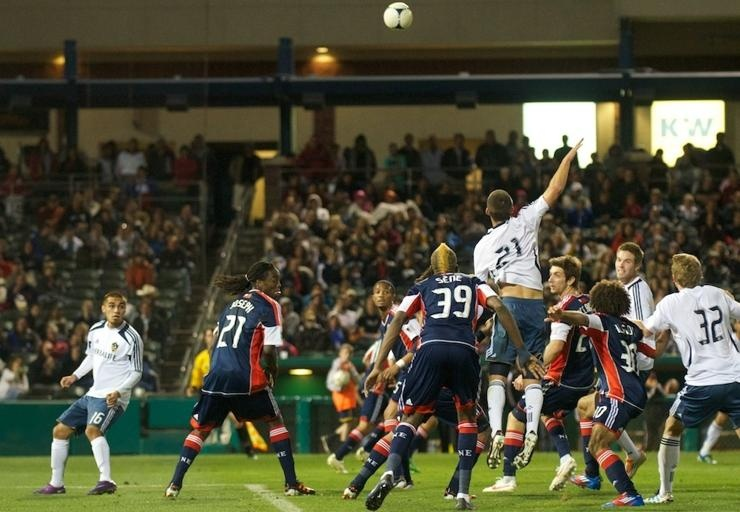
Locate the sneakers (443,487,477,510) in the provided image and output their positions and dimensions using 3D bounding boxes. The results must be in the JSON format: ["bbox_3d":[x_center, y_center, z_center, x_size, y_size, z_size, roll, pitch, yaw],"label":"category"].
[{"bbox_3d":[1.637,4.262,29.656,0.210,0.297,0.623,-2,-10,28],"label":"sneakers"}]

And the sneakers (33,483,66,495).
[{"bbox_3d":[-5.929,4.259,31.012,0.552,0.247,0.215,4,-8,-7],"label":"sneakers"}]

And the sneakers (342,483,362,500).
[{"bbox_3d":[-0.338,4.183,29.809,0.248,0.271,0.295,17,-24,46],"label":"sneakers"}]

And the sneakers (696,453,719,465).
[{"bbox_3d":[7.006,4.190,35.173,0.469,0.241,0.175,2,1,-1],"label":"sneakers"}]

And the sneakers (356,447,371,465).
[{"bbox_3d":[-0.184,3.977,34.160,0.185,0.303,0.556,1,-3,8],"label":"sneakers"}]
